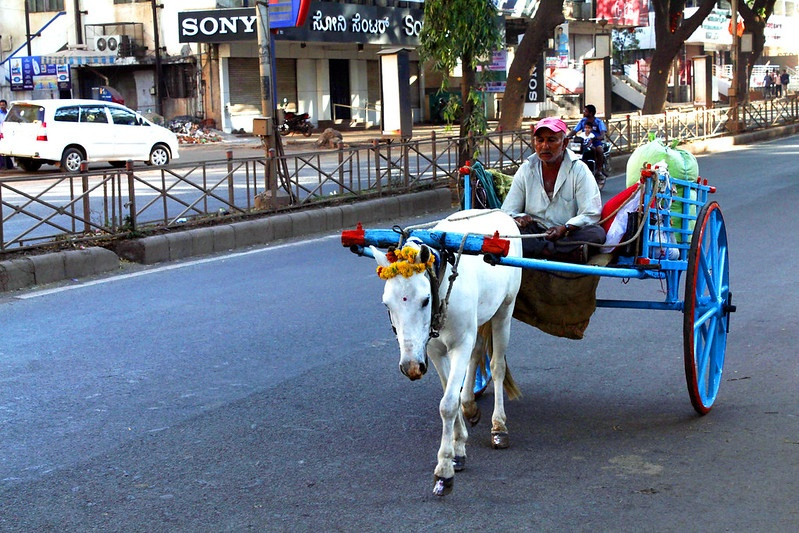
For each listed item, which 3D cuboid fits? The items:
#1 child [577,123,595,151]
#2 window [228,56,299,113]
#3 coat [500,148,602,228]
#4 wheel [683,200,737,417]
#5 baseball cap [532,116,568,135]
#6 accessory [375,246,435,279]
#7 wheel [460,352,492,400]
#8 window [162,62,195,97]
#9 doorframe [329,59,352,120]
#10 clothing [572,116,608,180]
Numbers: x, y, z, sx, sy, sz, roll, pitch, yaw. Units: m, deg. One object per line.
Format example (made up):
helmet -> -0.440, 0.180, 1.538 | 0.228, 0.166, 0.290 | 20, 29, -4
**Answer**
child -> 4.057, -2.809, 18.205 | 0.216, 0.477, 0.889 | 0, 29, 17
window -> -6.481, -8.541, 39.792 | 3.521, 2.740, 0.241 | -9, 15, -37
coat -> 1.432, -0.666, 7.749 | 0.976, 0.903, 0.675 | 5, 10, 30
wheel -> 2.777, 0.433, 7.561 | 0.434, 1.763, 1.647 | 1, 10, 27
baseball cap -> 1.369, -1.284, 7.655 | 0.291, 0.136, 0.366 | 1, 16, 8
accessory -> 0.052, -0.039, 6.081 | 0.238, 0.146, 0.299 | -10, 8, 7
wheel -> 0.759, 1.069, 8.066 | 0.257, 0.441, 0.307 | -1, 50, -9
window -> -10.376, -8.890, 39.447 | 1.611, 1.739, 1.191 | -6, 30, -20
doorframe -> -2.974, -9.483, 43.284 | 1.124, 0.367, 3.502 | -7, 55, 5
clothing -> 4.170, -2.611, 18.184 | 0.841, 1.109, 1.650 | -11, 11, 21
